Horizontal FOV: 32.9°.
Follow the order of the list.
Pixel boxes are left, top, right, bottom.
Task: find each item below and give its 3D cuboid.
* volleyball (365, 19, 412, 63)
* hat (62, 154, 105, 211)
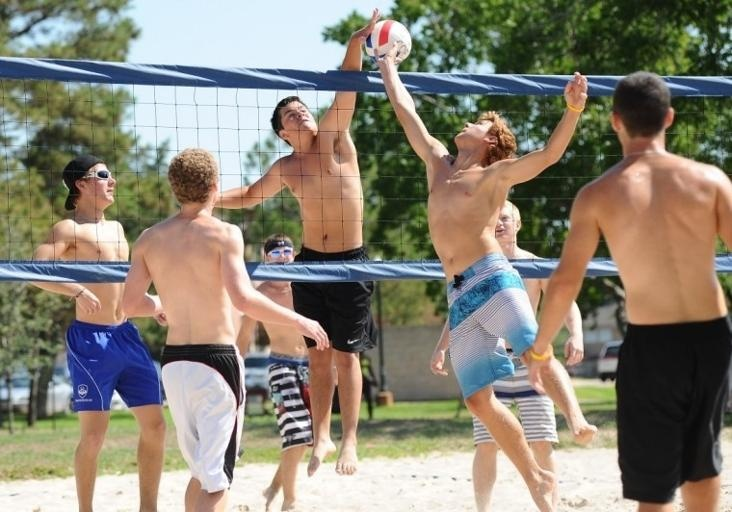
[{"bbox_3d":[0.254,-2.290,13.424,0.464,0.480,0.455,3,4,-39],"label":"volleyball"},{"bbox_3d":[-3.203,-0.868,13.792,0.428,0.576,0.413,41,4,-11],"label":"hat"}]
